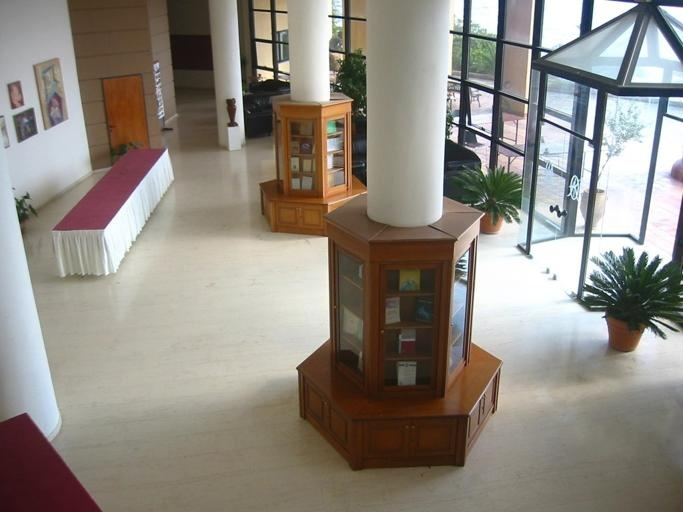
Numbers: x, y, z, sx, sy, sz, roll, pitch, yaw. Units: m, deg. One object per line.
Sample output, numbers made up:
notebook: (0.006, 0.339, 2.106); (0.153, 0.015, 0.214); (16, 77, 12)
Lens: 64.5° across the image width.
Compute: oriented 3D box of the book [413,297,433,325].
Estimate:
book: (0.878, 0.576, 5.784); (0.266, 0.372, 0.041); (6, 23, 19)

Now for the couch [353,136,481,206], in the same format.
couch: (2.024, -2.003, 12.343); (3.142, 1.651, 1.454); (7, 0, 14)

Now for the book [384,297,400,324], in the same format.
book: (0.525, 0.566, 5.740); (0.247, 0.291, 0.031); (-12, 28, -24)

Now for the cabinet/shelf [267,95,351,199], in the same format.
cabinet/shelf: (-0.531, -2.342, 11.153); (2.121, 2.205, 1.811); (0, 27, 1)

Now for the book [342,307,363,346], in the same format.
book: (0.137, 0.754, 6.079); (0.392, 0.306, 0.039); (18, 20, 34)

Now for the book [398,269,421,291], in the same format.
book: (0.707, 0.252, 5.664); (0.220, 0.219, 0.212); (1, 26, 2)

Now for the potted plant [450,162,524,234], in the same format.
potted plant: (3.069, -1.088, 10.744); (1.166, 1.099, 1.058); (11, -4, 18)
